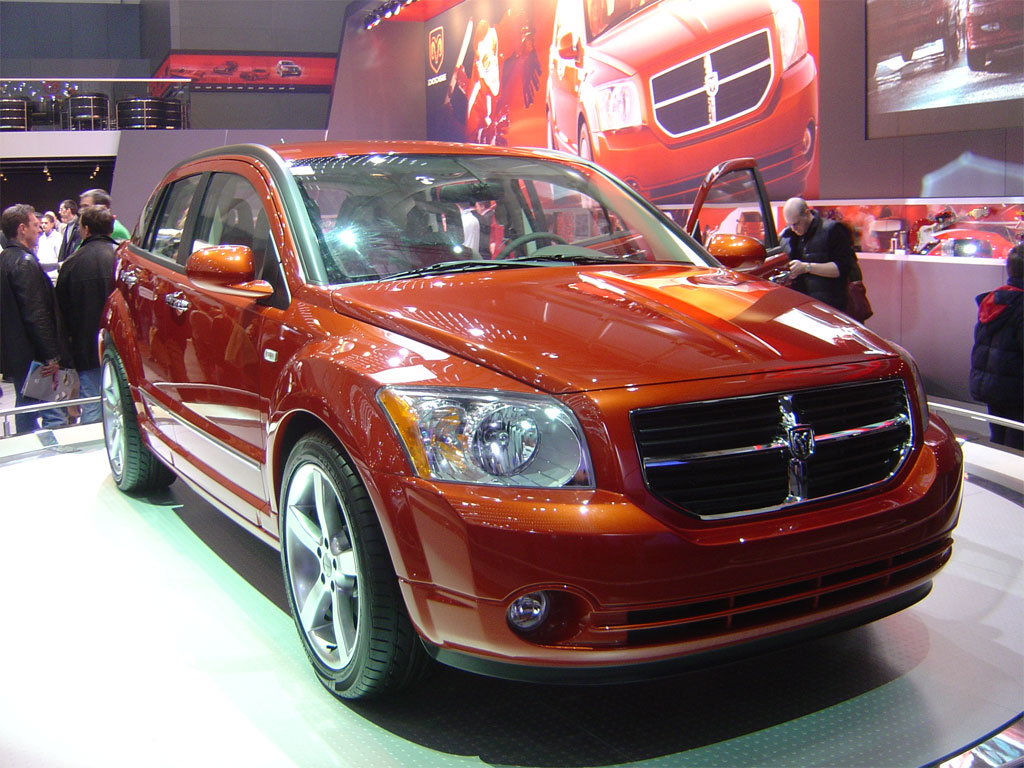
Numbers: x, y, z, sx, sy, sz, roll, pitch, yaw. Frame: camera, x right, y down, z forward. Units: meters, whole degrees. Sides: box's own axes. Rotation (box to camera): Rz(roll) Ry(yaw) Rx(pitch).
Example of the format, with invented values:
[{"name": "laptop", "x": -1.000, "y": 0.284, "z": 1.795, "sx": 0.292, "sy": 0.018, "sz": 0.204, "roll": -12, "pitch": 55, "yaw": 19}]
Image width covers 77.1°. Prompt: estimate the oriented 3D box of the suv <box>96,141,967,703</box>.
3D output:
[{"name": "suv", "x": -0.423, "y": -0.043, "z": 2.696, "sx": 1.853, "sy": 1.229, "sz": 3.393, "roll": -5, "pitch": 9, "yaw": -34}]
